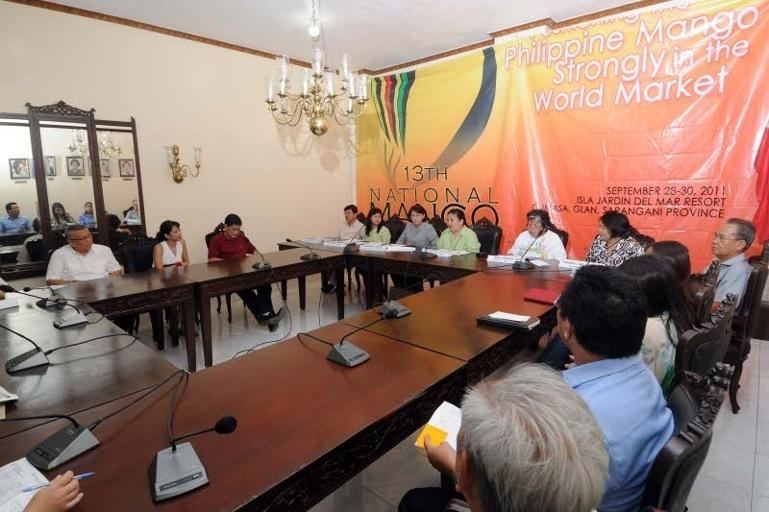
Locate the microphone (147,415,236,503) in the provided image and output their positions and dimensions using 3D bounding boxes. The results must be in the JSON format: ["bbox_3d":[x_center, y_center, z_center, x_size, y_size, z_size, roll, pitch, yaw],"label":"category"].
[{"bbox_3d":[-0.867,0.886,1.992,0.220,0.185,0.170,-7,12,-25],"label":"microphone"}]

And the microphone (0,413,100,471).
[{"bbox_3d":[-1.430,0.824,2.048,0.183,0.125,0.337,5,2,30],"label":"microphone"}]

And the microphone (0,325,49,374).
[{"bbox_3d":[-2.044,0.505,2.702,0.221,0.411,0.213,-3,6,-40],"label":"microphone"}]

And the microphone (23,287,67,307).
[{"bbox_3d":[-2.489,0.296,3.468,0.278,0.106,0.245,4,6,2],"label":"microphone"}]

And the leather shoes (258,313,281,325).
[{"bbox_3d":[-1.146,0.620,4.695,0.103,0.074,0.183,-6,5,-44],"label":"leather shoes"}]

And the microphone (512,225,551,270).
[{"bbox_3d":[1.404,-0.073,4.510,0.197,0.289,0.339,39,-31,-27],"label":"microphone"}]

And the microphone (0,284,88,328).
[{"bbox_3d":[-2.200,0.368,3.181,0.509,0.210,0.301,10,3,33],"label":"microphone"}]

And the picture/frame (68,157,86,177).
[{"bbox_3d":[-3.055,-0.882,4.684,0.018,0.266,0.198,1,3,41],"label":"picture/frame"}]

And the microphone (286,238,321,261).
[{"bbox_3d":[-0.844,-0.058,4.990,0.405,0.286,0.270,2,8,21],"label":"microphone"}]

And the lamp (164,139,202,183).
[{"bbox_3d":[-2.258,-1.046,5.390,0.096,0.424,0.385,6,14,37],"label":"lamp"}]
